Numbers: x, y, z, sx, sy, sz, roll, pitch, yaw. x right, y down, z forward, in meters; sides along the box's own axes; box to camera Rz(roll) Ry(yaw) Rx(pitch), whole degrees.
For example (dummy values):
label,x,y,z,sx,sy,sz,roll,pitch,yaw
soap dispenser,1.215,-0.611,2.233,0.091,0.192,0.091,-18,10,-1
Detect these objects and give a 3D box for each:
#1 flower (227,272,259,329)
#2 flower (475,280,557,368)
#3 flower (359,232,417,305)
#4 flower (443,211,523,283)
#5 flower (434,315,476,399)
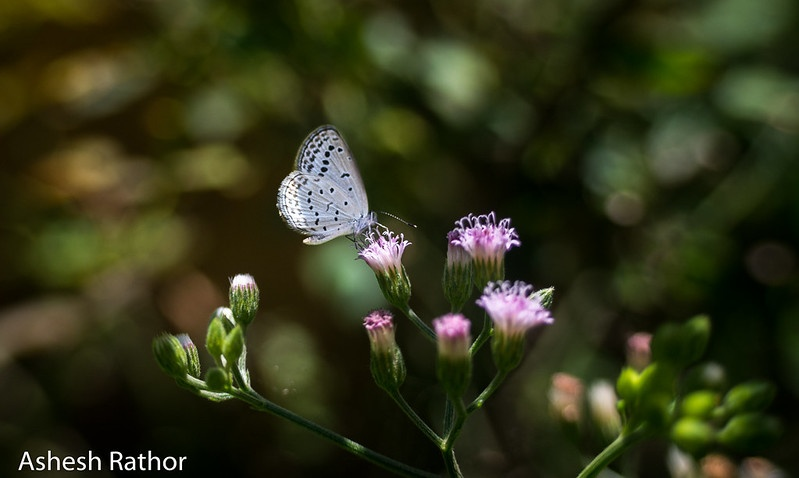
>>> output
label,x,y,z,sx,sy,sz,roll,pitch,yaw
flower,-0.924,0.359,4.550,0.154,0.259,0.272,1,37,-8
flower,0.646,0.447,4.366,0.414,0.351,0.450,-25,47,-35
flower,-0.089,0.194,4.809,0.283,0.263,0.370,17,40,-52
flower,0.523,0.095,4.685,0.408,0.491,0.448,-9,8,18
flower,0.293,0.620,4.229,0.241,0.334,0.414,9,37,3
